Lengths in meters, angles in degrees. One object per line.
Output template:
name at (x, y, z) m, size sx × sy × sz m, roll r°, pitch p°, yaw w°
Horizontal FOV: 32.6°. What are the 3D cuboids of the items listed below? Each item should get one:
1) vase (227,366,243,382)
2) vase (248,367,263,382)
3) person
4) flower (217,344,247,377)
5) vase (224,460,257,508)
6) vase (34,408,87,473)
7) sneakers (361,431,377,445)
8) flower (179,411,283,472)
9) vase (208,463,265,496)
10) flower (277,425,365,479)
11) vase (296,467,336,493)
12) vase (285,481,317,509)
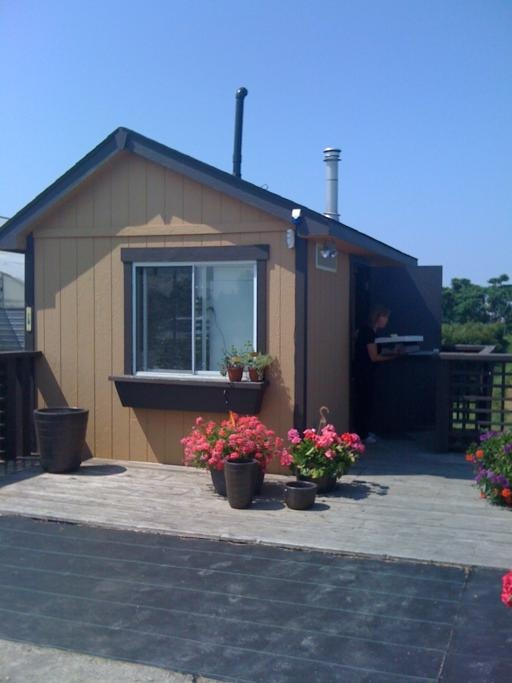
vase at (-0.196, 0.295, 7.982) m, size 0.120 × 0.102 × 0.130 m, roll -1°, pitch -4°, yaw 0°
vase at (-0.001, 0.295, 7.962) m, size 0.113 × 0.100 × 0.118 m, roll 0°, pitch -3°, yaw -3°
person at (1.345, 0.382, 10.061) m, size 0.320 × 1.545 × 0.552 m, roll -3°, pitch 5°, yaw -38°
flower at (-0.218, 0.145, 8.082) m, size 0.251 × 0.285 × 0.277 m, roll 5°, pitch 11°, yaw 11°
vase at (-0.127, 1.120, 6.855) m, size 0.317 × 0.344 × 0.316 m, roll -2°, pitch 1°, yaw -39°
vase at (-1.856, 0.929, 8.271) m, size 0.506 × 0.599 × 0.520 m, roll 4°, pitch 4°, yaw 30°
sneakers at (1.334, 1.121, 10.157) m, size 0.113 × 0.057 × 0.169 m, roll 3°, pitch 5°, yaw 27°
flower at (-0.151, 0.768, 7.254) m, size 0.538 × 0.373 × 0.577 m, roll -24°, pitch 11°, yaw -42°
vase at (-0.161, 1.146, 7.182) m, size 0.339 × 0.233 × 0.338 m, roll -2°, pitch -5°, yaw 19°
flower at (0.543, 0.934, 7.357) m, size 0.491 × 0.398 × 0.565 m, roll 0°, pitch 1°, yaw 4°
vase at (0.521, 1.156, 7.286) m, size 0.224 × 0.151 × 0.211 m, roll -4°, pitch -5°, yaw 35°
vase at (0.344, 1.200, 6.817) m, size 0.240 × 0.184 × 0.303 m, roll 0°, pitch 5°, yaw 1°
